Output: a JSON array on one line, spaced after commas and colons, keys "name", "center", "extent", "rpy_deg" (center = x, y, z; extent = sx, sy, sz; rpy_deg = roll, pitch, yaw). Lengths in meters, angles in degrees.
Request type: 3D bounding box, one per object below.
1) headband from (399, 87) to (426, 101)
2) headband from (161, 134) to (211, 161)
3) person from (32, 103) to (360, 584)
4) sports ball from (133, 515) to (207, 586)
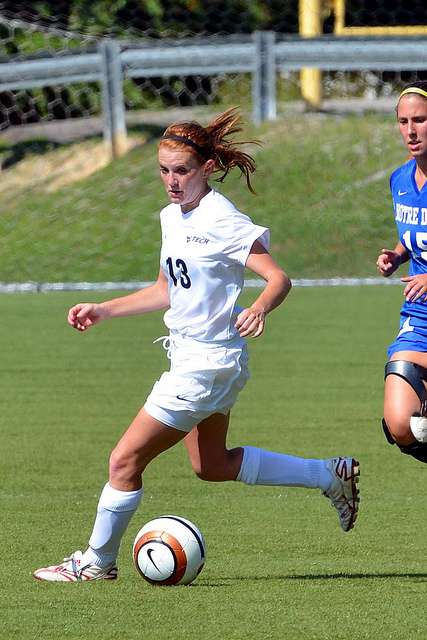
[{"name": "headband", "center": [0.718, -0.834, 3.068], "extent": [0.040, 0.044, 0.126], "rpy_deg": [-3, 4, -32]}, {"name": "headband", "center": [-0.085, -0.552, 2.664], "extent": [0.148, 0.076, 0.067], "rpy_deg": [-1, 4, -3]}, {"name": "person", "center": [-0.041, 0.058, 2.756], "extent": [0.707, 1.511, 0.845], "rpy_deg": [1, 5, 27]}, {"name": "sports ball", "center": [-0.132, 0.706, 2.565], "extent": [0.242, 0.188, 0.193], "rpy_deg": [0, -21, -5]}]
